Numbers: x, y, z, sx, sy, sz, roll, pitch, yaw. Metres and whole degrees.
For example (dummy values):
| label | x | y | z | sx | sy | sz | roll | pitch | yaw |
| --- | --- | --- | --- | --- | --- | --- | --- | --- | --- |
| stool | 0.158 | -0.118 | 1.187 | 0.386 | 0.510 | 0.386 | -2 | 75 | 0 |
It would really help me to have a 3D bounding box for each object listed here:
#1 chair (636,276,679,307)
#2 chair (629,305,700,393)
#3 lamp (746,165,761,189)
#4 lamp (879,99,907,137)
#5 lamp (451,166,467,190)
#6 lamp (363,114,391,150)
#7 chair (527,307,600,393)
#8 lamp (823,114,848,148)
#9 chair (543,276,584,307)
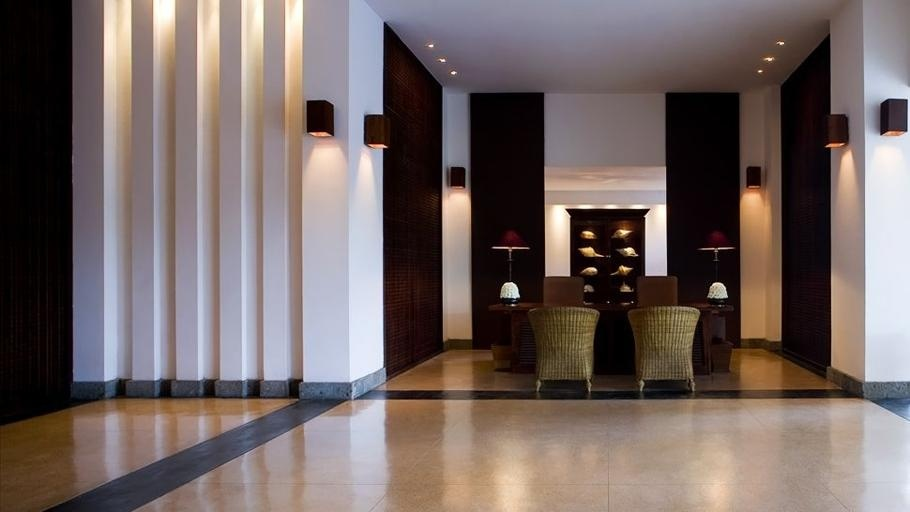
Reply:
| label | x | y | z | sx | sy | sz | roll | pitch | yaw |
| --- | --- | --- | --- | --- | --- | --- | --- | --- | --- |
| chair | 3.235 | 0.574 | 10.844 | 0.543 | 0.398 | 0.520 | -2 | -1 | 4 |
| chair | 3.236 | 1.366 | 10.152 | 1.310 | 1.277 | 1.204 | -1 | -2 | 11 |
| lamp | 5.590 | -1.432 | 12.640 | 0.298 | 0.423 | 0.253 | 2 | 14 | 13 |
| lamp | 6.047 | -1.883 | 9.330 | 0.322 | 0.484 | 0.227 | 3 | 14 | 18 |
| lamp | 0.081 | -1.470 | 12.986 | 0.356 | 0.424 | 0.245 | -4 | 14 | -12 |
| lamp | -1.154 | -1.797 | 9.924 | 0.351 | 0.532 | 0.592 | -3 | -3 | 21 |
| chair | 1.657 | 1.373 | 10.264 | 1.258 | 1.220 | 1.210 | -1 | -4 | 9 |
| lamp | 5.534 | -1.783 | 9.838 | 0.298 | 0.477 | 0.247 | -2 | 14 | -3 |
| chair | 1.723 | 0.561 | 10.635 | 0.523 | 0.351 | 0.493 | 1 | -1 | 7 |
